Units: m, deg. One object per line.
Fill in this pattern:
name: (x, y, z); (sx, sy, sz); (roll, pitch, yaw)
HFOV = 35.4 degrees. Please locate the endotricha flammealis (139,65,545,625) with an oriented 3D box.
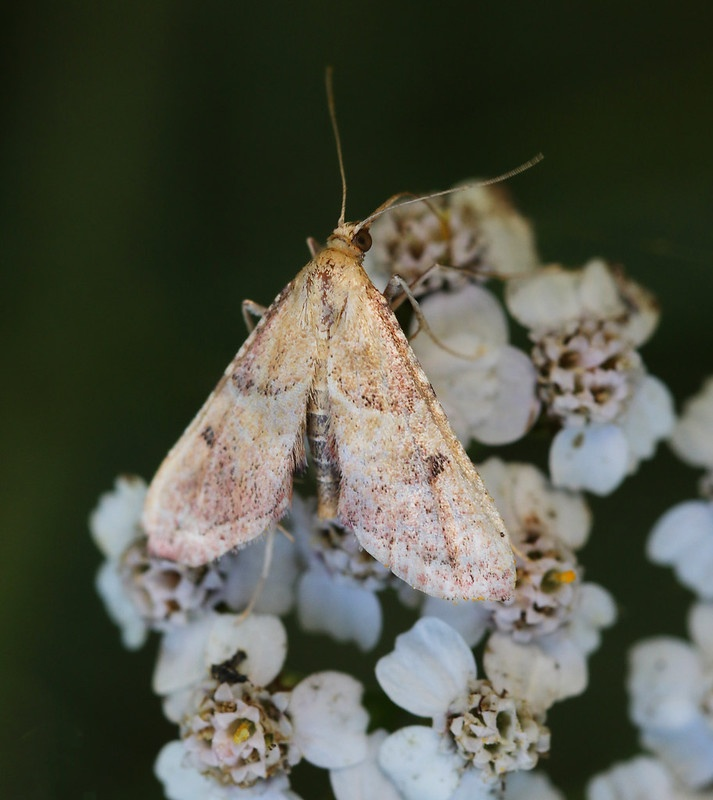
endotricha flammealis: (-0.069, 0.059, 1.232); (0.357, 0.148, 0.450); (-19, 72, -4)
